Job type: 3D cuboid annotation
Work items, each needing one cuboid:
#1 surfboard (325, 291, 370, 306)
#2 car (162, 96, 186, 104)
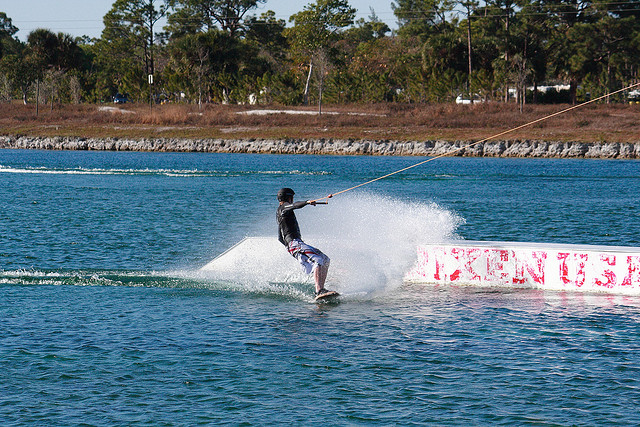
[{"bbox_3d":[1.419,4.323,66.803,2.553,0.414,0.753,-11,26,-35],"label":"surfboard"},{"bbox_3d":[-16.800,-12.832,148.413,1.947,0.960,1.938,-7,-8,42],"label":"car"}]
